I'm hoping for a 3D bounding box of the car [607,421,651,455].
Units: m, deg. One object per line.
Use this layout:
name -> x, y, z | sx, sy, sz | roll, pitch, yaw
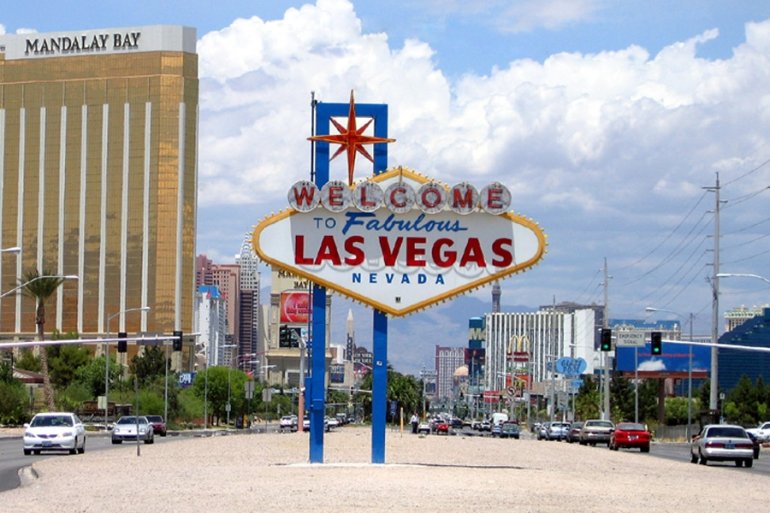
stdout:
car -> 23.164, 17.177, 123.375 | 3.520, 2.772, 2.503 | -2, -8, 13
